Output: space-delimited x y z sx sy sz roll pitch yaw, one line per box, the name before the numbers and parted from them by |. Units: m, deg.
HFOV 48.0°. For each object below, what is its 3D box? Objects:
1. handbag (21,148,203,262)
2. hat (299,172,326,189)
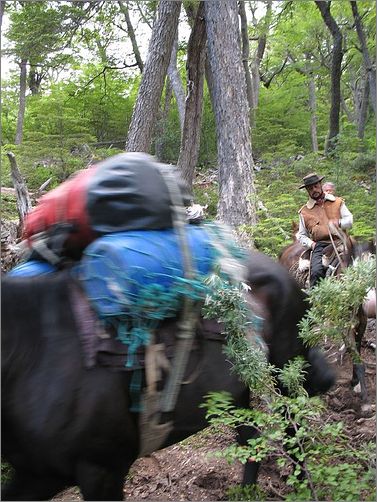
handbag | -0.421 -0.197 1.990 0.704 0.541 0.324 -1 6 -10
hat | 1.539 -0.885 5.293 0.232 0.082 0.254 -20 -2 18
